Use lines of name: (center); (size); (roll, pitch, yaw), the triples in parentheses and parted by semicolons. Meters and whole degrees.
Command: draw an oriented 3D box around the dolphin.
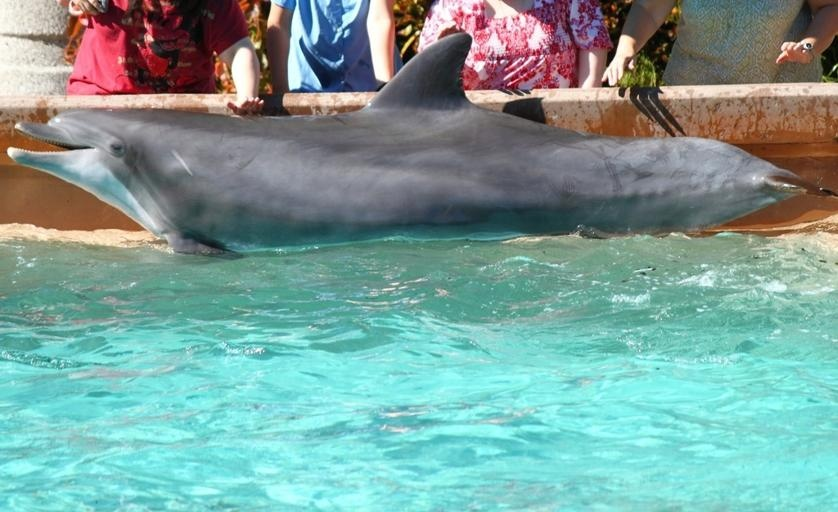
dolphin: (0.965, -0.491, 5.959); (7.440, 1.429, 1.465); (1, -18, -3)

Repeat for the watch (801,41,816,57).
watch: (2.561, -1.358, 5.499); (0.097, 0.079, 0.037); (-12, -4, -1)
